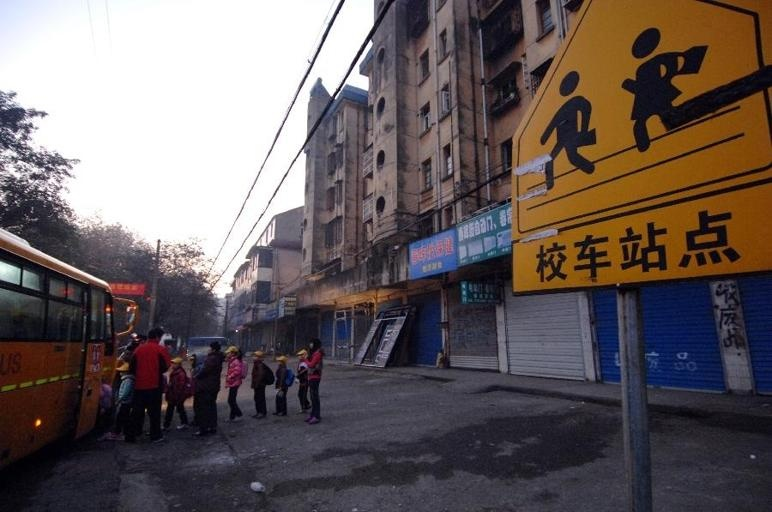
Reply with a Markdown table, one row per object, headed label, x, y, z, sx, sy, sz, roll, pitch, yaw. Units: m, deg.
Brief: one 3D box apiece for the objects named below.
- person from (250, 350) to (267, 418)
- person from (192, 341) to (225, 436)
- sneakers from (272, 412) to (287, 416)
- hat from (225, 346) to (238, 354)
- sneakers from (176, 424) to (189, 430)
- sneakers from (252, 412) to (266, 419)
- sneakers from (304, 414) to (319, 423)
| label | x | y | z | sx | sy | sz | roll | pitch | yaw |
| --- | --- | --- | --- | --- | --- | --- | --- | --- | --- |
| person | -3.034 | 3.030 | 11.546 | 0.310 | 1.510 | 0.888 | -1 | -3 | -15 |
| person | -3.726 | 2.761 | 10.169 | 0.591 | 1.826 | 0.790 | -1 | -3 | -19 |
| sneakers | -2.519 | 3.706 | 11.408 | 0.441 | 0.073 | 0.168 | -4 | -4 | 27 |
| hat | -3.654 | 2.188 | 11.356 | 0.234 | 0.132 | 0.178 | 3 | -9 | 1 |
| sneakers | -4.484 | 3.697 | 10.543 | 0.314 | 0.135 | 0.117 | -1 | -14 | 16 |
| sneakers | -2.954 | 3.674 | 11.170 | 0.293 | 0.087 | 0.209 | -3 | -3 | 10 |
| sneakers | -1.564 | 3.470 | 10.335 | 0.335 | 0.143 | 0.187 | 14 | -19 | -29 |
